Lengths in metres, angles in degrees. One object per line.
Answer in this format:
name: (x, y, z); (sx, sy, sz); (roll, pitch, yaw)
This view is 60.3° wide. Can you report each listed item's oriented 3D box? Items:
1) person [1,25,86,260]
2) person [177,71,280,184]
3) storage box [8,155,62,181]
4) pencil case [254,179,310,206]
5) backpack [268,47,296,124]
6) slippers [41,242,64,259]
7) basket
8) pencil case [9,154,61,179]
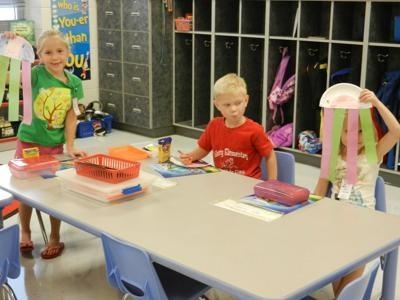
person: (-1.132, -0.039, 2.539); (0.522, 1.614, 0.560); (21, 28, 39)
person: (0.207, -0.054, 2.199); (0.507, 0.772, 0.498); (10, 24, 25)
storage box: (-0.939, 0.079, 1.956); (0.210, 0.072, 0.154); (-9, 16, -36)
pencil case: (0.394, 0.202, 1.673); (0.251, 0.067, 0.176); (8, 16, 27)
backpack: (1.058, -0.799, 4.383); (0.209, 1.075, 0.277); (-20, 29, -39)
slippers: (-1.084, 0.724, 2.521); (0.075, 0.052, 0.140); (8, 13, 25)
basket: (-0.495, 0.086, 1.797); (0.379, 0.079, 0.219); (9, 16, 29)
pencil case: (-0.931, 0.058, 2.020); (0.344, 0.111, 0.278); (-9, 13, -44)
